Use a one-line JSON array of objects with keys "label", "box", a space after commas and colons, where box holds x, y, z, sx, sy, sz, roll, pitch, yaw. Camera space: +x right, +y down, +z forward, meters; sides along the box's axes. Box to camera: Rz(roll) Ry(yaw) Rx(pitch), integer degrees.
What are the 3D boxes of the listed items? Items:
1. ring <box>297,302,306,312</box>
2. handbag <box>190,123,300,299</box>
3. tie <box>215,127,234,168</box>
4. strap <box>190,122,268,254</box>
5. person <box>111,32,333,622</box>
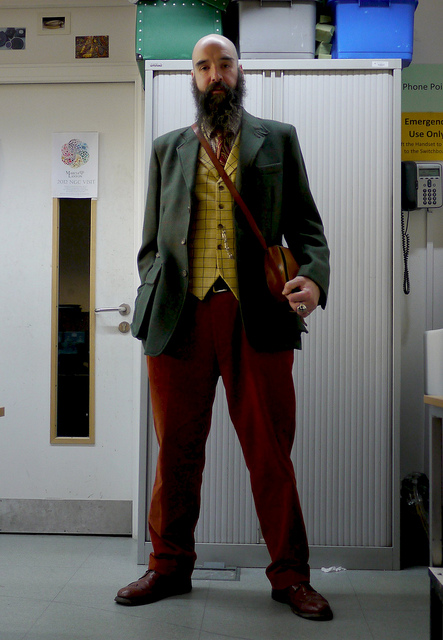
[{"label": "ring", "box": [0.203, -0.033, 1.768, 0.014, 0.024, 0.020, -2, 3, -45]}, {"label": "handbag", "box": [0.054, -0.308, 1.882, 0.311, 0.504, 0.162, 0, -2, 9]}, {"label": "tie", "box": [0.003, -0.482, 1.927, 0.060, 0.169, 0.019, -1, -27, -6]}, {"label": "strap", "box": [0.023, -0.342, 1.888, 0.041, 0.413, 0.049, -32, -27, 14]}, {"label": "person", "box": [0.001, 0.027, 1.971, 0.609, 1.590, 0.286, 0, -2, 19]}]
